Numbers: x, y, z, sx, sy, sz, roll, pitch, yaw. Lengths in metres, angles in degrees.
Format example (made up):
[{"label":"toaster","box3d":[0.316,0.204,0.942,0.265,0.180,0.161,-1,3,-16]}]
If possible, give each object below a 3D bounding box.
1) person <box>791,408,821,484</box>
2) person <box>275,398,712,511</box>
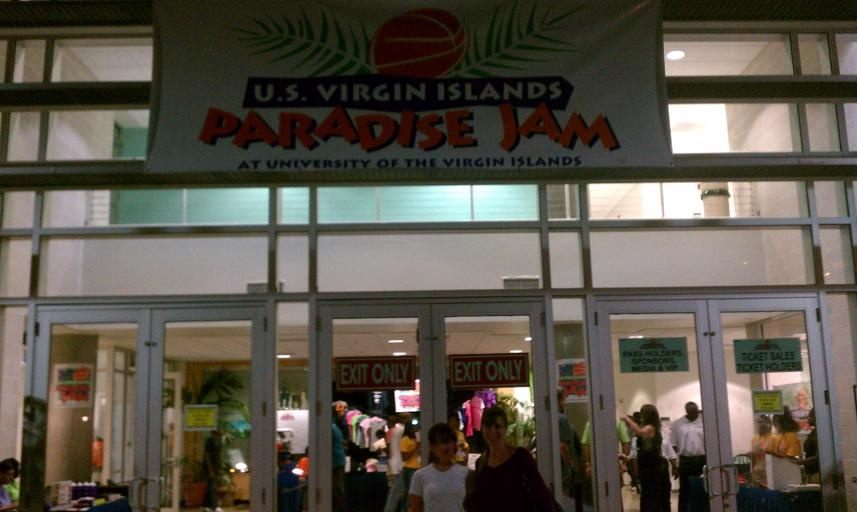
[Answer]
[{"label":"person","box3d":[4.546,2.278,9.980,0.263,0.859,0.139,-9,-17,24]},{"label":"person","box3d":[1.093,2.421,9.839,4.356,1.316,0.318,-1,-15,-4]}]
